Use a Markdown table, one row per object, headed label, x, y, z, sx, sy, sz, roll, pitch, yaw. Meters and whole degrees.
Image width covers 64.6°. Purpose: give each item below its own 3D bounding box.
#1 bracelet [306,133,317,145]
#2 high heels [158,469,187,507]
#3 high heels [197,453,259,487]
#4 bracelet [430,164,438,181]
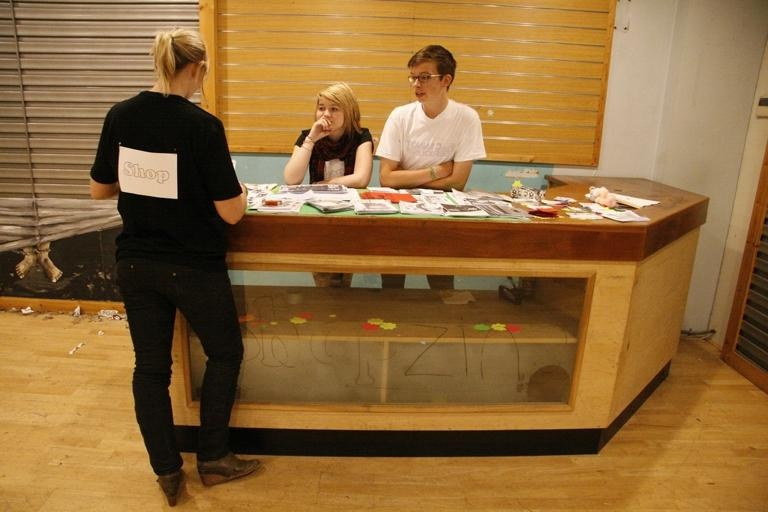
| label | x | y | z | sx | sy | sz | roll | pitch | yaw |
| --- | --- | --- | --- | --- | --- | --- | --- | --- | --- |
| bracelet | -0.518 | -0.829 | 4.301 | 0.066 | 0.068 | 0.029 | 9 | 23 | 20 |
| high heels | -1.243 | 1.370 | 3.552 | 0.143 | 0.085 | 0.244 | 1 | 21 | -12 |
| high heels | -0.948 | 1.288 | 3.737 | 0.362 | 0.116 | 0.175 | -8 | 11 | -23 |
| bracelet | 0.361 | -0.601 | 4.375 | 0.066 | 0.077 | 0.024 | -6 | -2 | -6 |
